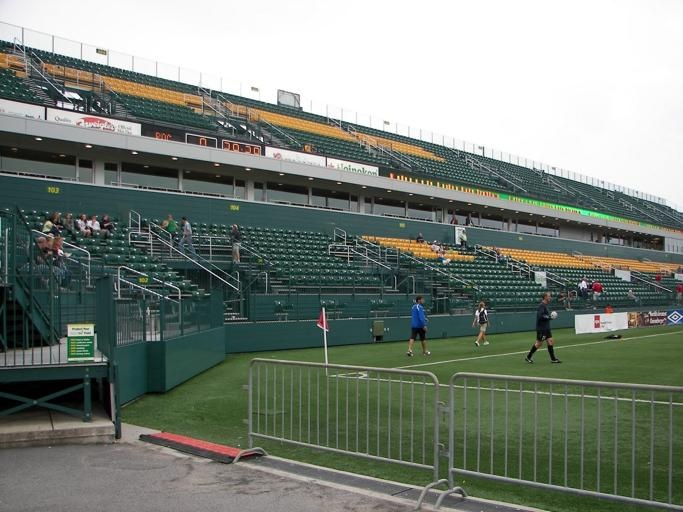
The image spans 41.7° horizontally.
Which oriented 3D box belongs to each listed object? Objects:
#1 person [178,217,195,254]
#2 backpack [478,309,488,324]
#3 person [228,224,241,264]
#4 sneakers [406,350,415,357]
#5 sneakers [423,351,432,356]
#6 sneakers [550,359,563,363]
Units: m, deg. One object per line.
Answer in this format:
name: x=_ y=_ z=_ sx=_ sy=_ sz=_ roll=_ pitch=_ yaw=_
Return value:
person: x=-5.706 y=-0.726 z=32.914 sx=0.559 sy=1.235 sz=1.996 roll=0 pitch=6 yaw=-10
backpack: x=4.985 y=2.144 z=31.591 sx=0.338 sy=0.545 sz=0.445 roll=2 pitch=6 yaw=8
person: x=-4.027 y=-0.454 z=33.814 sx=0.357 sy=1.418 sz=1.170 roll=0 pitch=6 yaw=-7
sneakers: x=2.126 y=3.062 z=27.916 sx=0.118 sy=0.133 sz=0.326 roll=-2 pitch=-4 yaw=32
sneakers: x=2.704 y=3.093 z=28.173 sx=0.273 sy=0.109 sz=0.108 roll=-2 pitch=0 yaw=-33
sneakers: x=6.233 y=3.048 z=25.771 sx=0.389 sy=0.155 sz=0.133 roll=3 pitch=-4 yaw=-6
